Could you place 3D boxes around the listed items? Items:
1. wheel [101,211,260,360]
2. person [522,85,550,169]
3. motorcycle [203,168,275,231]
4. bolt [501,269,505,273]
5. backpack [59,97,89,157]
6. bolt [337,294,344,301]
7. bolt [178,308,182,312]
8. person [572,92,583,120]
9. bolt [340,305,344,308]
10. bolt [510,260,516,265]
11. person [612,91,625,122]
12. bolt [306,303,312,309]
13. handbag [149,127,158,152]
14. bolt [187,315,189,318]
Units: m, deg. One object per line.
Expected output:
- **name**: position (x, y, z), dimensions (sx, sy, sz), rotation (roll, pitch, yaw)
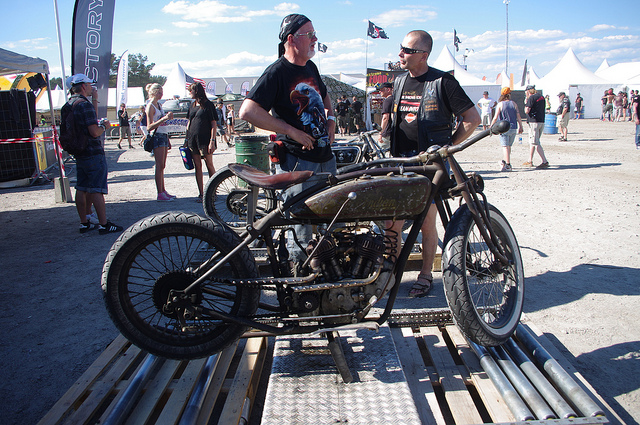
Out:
- **wheel**: position (-1.427, 0.545, 4.320), dimensions (1.181, 1.348, 2.014), rotation (-10, 18, -27)
- **person**: position (5.957, -2.310, 12.549), dimensions (0.660, 1.926, 1.597), rotation (5, 18, 23)
- **motorcycle**: position (-0.979, -0.146, 5.372), dimensions (0.923, 0.964, 0.306), rotation (-4, -12, 3)
- **bolt**: position (1.655, 0.524, 4.138), dimensions (0.027, 0.028, 0.007), rotation (2, 7, -3)
- **backpack**: position (-3.853, -1.332, 7.082), dimensions (0.546, 0.895, 0.383), rotation (8, 19, 30)
- **bolt**: position (0.166, 0.690, 3.705), dimensions (0.052, 0.053, 0.012), rotation (-2, 16, -1)
- **bolt**: position (-1.156, 0.793, 3.742), dimensions (0.031, 0.031, 0.008), rotation (0, 1, -6)
- **person**: position (20.008, -8.273, 35.349), dimensions (0.528, 1.954, 1.182), rotation (6, 18, 27)
- **bolt**: position (0.177, 0.765, 3.723), dimensions (0.031, 0.024, 0.003), rotation (-2, 16, 1)
- **bolt**: position (1.775, 0.459, 4.196), dimensions (0.040, 0.027, 0.026), rotation (-4, 24, -6)
- **person**: position (20.907, -7.461, 31.883), dimensions (0.569, 1.964, 1.306), rotation (8, 19, 31)
- **bolt**: position (-0.091, 0.757, 3.722), dimensions (0.047, 0.039, 0.007), rotation (-3, 16, -2)
- **handbag**: position (-3.120, -1.355, 8.521), dimensions (0.075, 0.264, 0.183), rotation (1, -10, 3)
- **bolt**: position (-1.092, 0.857, 3.766), dimensions (0.014, 0.025, 0.004), rotation (-4, 16, -6)
